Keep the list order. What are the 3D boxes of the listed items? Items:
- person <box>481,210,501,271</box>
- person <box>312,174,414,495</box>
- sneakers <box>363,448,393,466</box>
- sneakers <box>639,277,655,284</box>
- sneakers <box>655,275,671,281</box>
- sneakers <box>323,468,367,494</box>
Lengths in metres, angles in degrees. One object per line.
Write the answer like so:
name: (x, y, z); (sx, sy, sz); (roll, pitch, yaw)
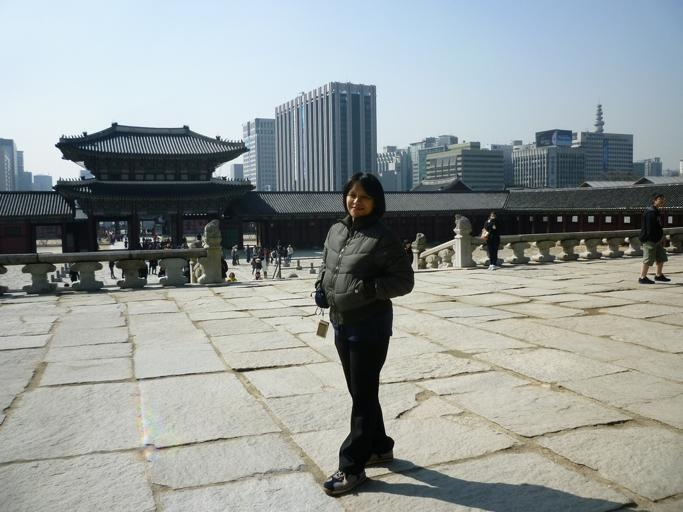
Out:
person: (3.244, -0.349, 12.811); (0.400, 1.334, 1.442); (2, 10, 15)
person: (0.142, 0.423, 3.618); (0.595, 1.830, 0.754); (-2, 10, -3)
sneakers: (0.234, 1.284, 3.730); (0.187, 0.078, 0.071); (1, -3, -16)
sneakers: (5.003, 0.423, 9.587); (0.264, 0.102, 0.093); (1, 1, -1)
sneakers: (5.346, 0.373, 9.722); (0.290, 0.121, 0.101); (2, 6, -10)
sneakers: (0.005, 1.334, 3.477); (0.273, 0.115, 0.095); (4, -5, -30)
